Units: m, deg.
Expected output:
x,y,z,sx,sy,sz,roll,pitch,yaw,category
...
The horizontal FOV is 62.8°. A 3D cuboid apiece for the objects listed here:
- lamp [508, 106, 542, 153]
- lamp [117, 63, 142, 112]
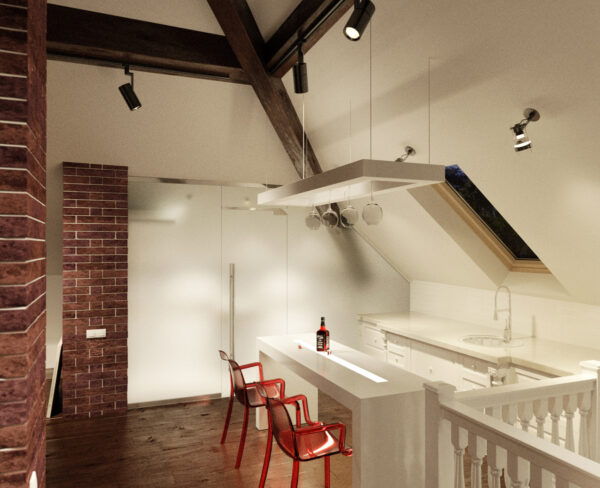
x,y,z,sx,sy,sz,roll,pitch,yaw,category
1.515,-0.754,3.274,0.163,0.285,0.282,2,3,27,lamp
-1.592,-1.443,4.592,0.194,0.450,0.529,-1,3,-21,lamp
